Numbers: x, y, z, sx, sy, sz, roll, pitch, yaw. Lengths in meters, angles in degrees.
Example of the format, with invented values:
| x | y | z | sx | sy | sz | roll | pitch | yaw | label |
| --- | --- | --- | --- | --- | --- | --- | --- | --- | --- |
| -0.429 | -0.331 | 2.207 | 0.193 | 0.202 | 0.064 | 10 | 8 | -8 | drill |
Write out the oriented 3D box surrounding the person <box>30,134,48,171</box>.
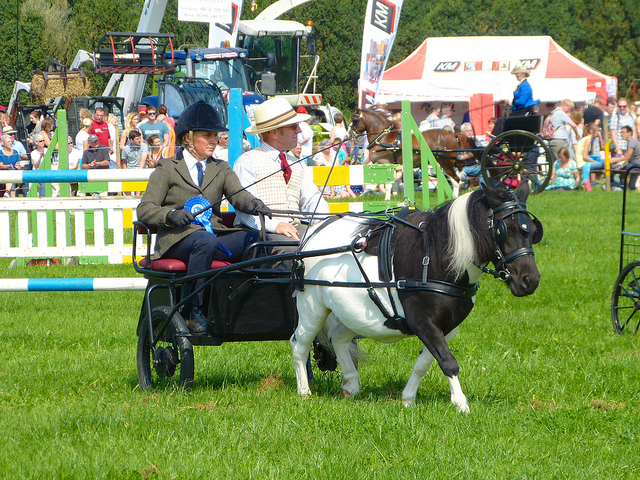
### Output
| x | y | z | sx | sy | sz | roll | pitch | yaw | label |
| --- | --- | --- | --- | --- | --- | --- | --- | --- | --- |
| -6.633 | -2.056 | 28.357 | 0.325 | 0.814 | 1.305 | 0 | 5 | -13 | person |

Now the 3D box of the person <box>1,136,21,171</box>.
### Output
| x | y | z | sx | sy | sz | roll | pitch | yaw | label |
| --- | --- | --- | --- | --- | --- | --- | --- | --- | --- |
| -7.554 | -2.115 | 29.414 | 0.457 | 0.784 | 0.784 | 0 | 5 | -15 | person |

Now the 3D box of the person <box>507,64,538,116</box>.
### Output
| x | y | z | sx | sy | sz | roll | pitch | yaw | label |
| --- | --- | --- | --- | --- | --- | --- | --- | --- | --- |
| 4.329 | -3.189 | 25.991 | 0.602 | 1.053 | 1.217 | 2 | 5 | 9 | person |

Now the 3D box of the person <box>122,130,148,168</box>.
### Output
| x | y | z | sx | sy | sz | roll | pitch | yaw | label |
| --- | --- | --- | --- | --- | --- | --- | --- | --- | --- |
| -4.239 | -1.957 | 27.399 | 0.558 | 1.115 | 0.662 | 1 | 36 | -5 | person |

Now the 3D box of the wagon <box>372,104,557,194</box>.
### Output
| x | y | z | sx | sy | sz | roll | pitch | yaw | label |
| --- | --- | --- | --- | --- | --- | --- | --- | --- | --- |
| 4.073 | -1.927 | 25.362 | 3.069 | 1.558 | 1.630 | 3 | 3 | 18 | wagon |

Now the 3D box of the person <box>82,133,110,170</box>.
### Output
| x | y | z | sx | sy | sz | roll | pitch | yaw | label |
| --- | --- | --- | --- | --- | --- | --- | --- | --- | --- |
| -5.127 | -2.013 | 27.619 | 0.557 | 0.736 | 1.027 | 2 | 5 | 10 | person |

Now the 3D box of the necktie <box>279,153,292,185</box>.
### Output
| x | y | z | sx | sy | sz | roll | pitch | yaw | label |
| --- | --- | --- | --- | --- | --- | --- | --- | --- | --- |
| -0.559 | -1.123 | 18.706 | 0.094 | 0.384 | 0.261 | -8 | -3 | 19 | necktie |

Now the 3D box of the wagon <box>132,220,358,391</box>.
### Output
| x | y | z | sx | sy | sz | roll | pitch | yaw | label |
| --- | --- | --- | --- | --- | --- | --- | --- | --- | --- |
| -1.712 | 1.094 | 18.797 | 2.652 | 2.261 | 2.637 | 0 | -2 | -40 | wagon |

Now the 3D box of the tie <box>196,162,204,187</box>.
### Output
| x | y | z | sx | sy | sz | roll | pitch | yaw | label |
| --- | --- | --- | --- | --- | --- | --- | --- | --- | --- |
| -1.861 | -1.003 | 18.697 | 0.097 | 0.384 | 0.046 | 0 | -7 | -2 | tie |

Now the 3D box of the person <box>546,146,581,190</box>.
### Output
| x | y | z | sx | sy | sz | roll | pitch | yaw | label |
| --- | --- | --- | --- | --- | --- | --- | --- | --- | --- |
| 6.000 | -1.770 | 30.190 | 0.993 | 1.063 | 0.582 | -3 | 6 | -37 | person |
